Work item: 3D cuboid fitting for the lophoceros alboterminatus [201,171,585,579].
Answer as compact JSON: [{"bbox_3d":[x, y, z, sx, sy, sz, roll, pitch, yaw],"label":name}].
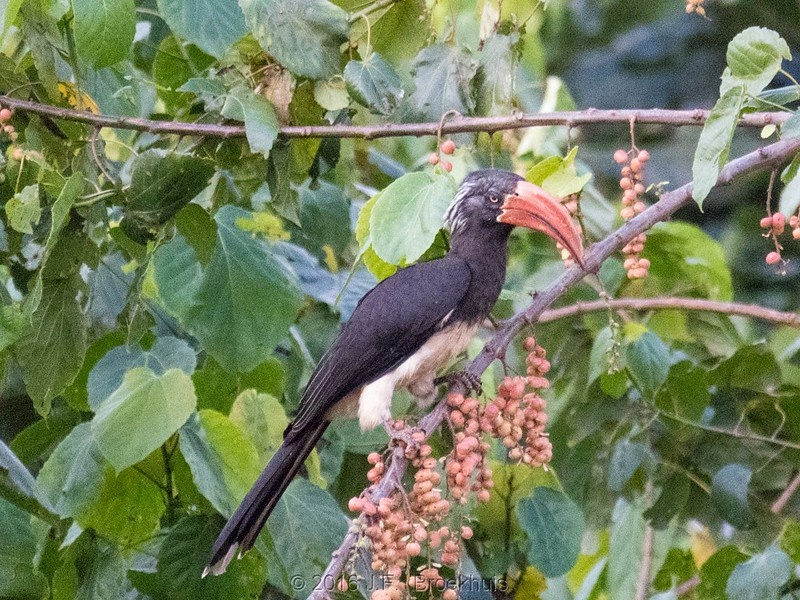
[{"bbox_3d":[-0.008,0.099,3.766,0.986,1.560,0.604,0,9,-30],"label":"lophoceros alboterminatus"}]
